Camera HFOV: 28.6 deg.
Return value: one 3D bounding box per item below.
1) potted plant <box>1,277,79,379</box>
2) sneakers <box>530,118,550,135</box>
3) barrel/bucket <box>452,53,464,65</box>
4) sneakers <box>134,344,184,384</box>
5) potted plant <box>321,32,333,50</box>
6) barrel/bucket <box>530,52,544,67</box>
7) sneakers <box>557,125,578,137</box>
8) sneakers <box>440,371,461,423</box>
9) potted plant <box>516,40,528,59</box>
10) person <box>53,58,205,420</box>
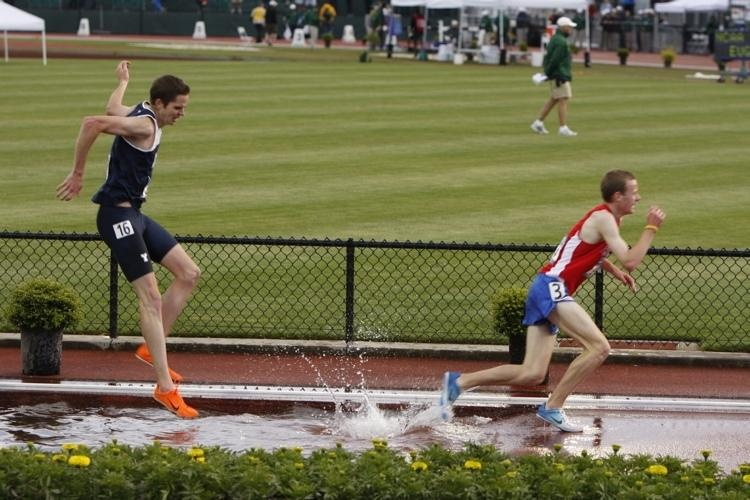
[{"bbox_3d":[-4.071,0.948,17.927,1.103,1.249,1.068,1,-1,-2],"label":"potted plant"},{"bbox_3d":[3.256,-2.395,28.789,0.433,0.261,0.169,15,40,-43],"label":"sneakers"},{"bbox_3d":[2.291,-5.271,40.542,0.328,0.248,0.329,-1,8,0],"label":"barrel/bucket"},{"bbox_3d":[-2.635,1.379,17.718,0.583,0.231,0.191,33,16,-11],"label":"sneakers"},{"bbox_3d":[-1.619,-6.868,48.064,0.464,0.461,0.465,0,5,20],"label":"potted plant"},{"bbox_3d":[4.425,-5.192,40.106,0.387,0.427,0.384,4,9,-1],"label":"barrel/bucket"},{"bbox_3d":[3.788,-2.311,28.553,0.448,0.203,0.169,-2,15,-35],"label":"sneakers"},{"bbox_3d":[0.863,1.675,16.965,0.233,0.570,0.195,8,3,3],"label":"sneakers"},{"bbox_3d":[4.191,-5.705,41.831,0.523,0.519,0.456,0,3,-4],"label":"potted plant"},{"bbox_3d":[-2.794,-0.090,17.312,1.428,3.918,1.035,1,8,0],"label":"person"}]
